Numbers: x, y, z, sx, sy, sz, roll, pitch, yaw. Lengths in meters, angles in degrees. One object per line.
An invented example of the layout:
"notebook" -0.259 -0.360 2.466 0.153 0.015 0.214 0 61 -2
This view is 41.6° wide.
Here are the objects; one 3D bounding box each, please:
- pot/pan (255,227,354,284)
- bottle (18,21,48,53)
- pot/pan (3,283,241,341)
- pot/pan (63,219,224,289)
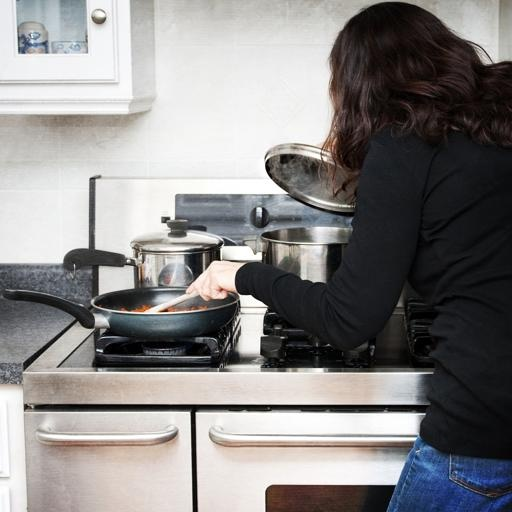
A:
"pot/pan" 0.121 -0.009 1.672 0.219 0.131 0.149 1 5 10
"bottle" -0.543 -0.533 1.652 0.082 0.076 0.075 3 7 4
"pot/pan" -0.256 0.131 1.479 0.358 0.079 0.203 0 2 -8
"pot/pan" -0.303 -0.002 1.840 0.410 0.170 0.202 -2 2 -6
